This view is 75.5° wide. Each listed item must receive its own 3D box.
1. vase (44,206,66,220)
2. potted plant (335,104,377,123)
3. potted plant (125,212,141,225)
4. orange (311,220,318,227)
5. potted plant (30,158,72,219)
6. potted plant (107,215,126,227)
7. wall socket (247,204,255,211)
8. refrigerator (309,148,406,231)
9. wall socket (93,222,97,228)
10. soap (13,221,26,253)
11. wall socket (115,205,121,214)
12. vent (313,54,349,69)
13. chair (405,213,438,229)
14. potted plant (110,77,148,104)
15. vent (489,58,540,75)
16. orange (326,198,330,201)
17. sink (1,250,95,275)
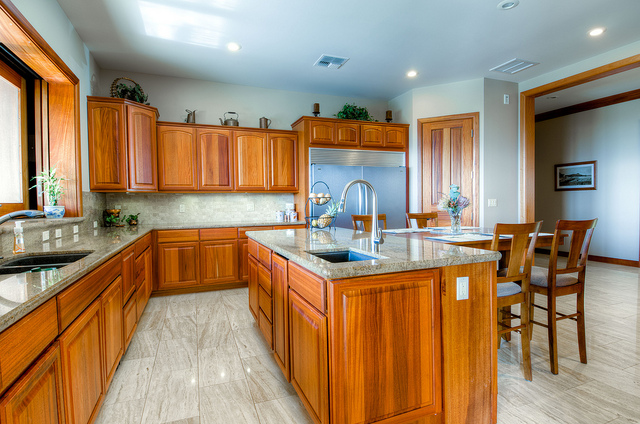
[{"bbox_3d":[-2.878,0.008,4.504,0.169,0.105,0.167,-4,-2,6],"label":"vase"},{"bbox_3d":[0.633,-1.613,6.786,0.462,0.244,0.530,6,11,5],"label":"potted plant"},{"bbox_3d":[-2.666,0.103,5.939,0.145,0.165,0.310,1,4,5],"label":"potted plant"},{"bbox_3d":[-0.047,0.122,4.378,0.051,0.070,0.096,0,4,-5],"label":"orange"},{"bbox_3d":[-2.971,-0.210,4.607,0.291,0.538,0.399,-4,1,6],"label":"potted plant"},{"bbox_3d":[-2.800,0.122,5.724,0.103,0.158,0.215,5,6,42],"label":"potted plant"},{"bbox_3d":[-1.108,-0.075,6.623,0.128,0.116,0.032,3,-1,-13],"label":"wall socket"},{"bbox_3d":[0.749,-0.298,6.968,1.507,1.433,0.483,2,34,12],"label":"refrigerator"},{"bbox_3d":[-2.962,0.179,5.463,0.040,0.071,0.056,2,1,32],"label":"wall socket"},{"bbox_3d":[-2.640,0.220,3.627,0.077,0.270,0.186,-3,6,-36],"label":"soap"},{"bbox_3d":[-2.874,-0.027,5.901,0.074,0.128,0.220,-2,5,-26],"label":"wall socket"},{"bbox_3d":[0.158,-2.111,5.810,0.399,0.075,0.372,-1,4,-18],"label":"vent"},{"bbox_3d":[1.445,0.124,5.802,0.247,0.380,0.254,1,-3,-19],"label":"chair"},{"bbox_3d":[-2.624,-1.653,5.660,0.392,0.156,0.457,23,27,36],"label":"potted plant"},{"bbox_3d":[2.848,-2.134,6.064,0.482,0.082,0.473,-1,4,-25],"label":"vent"},{"bbox_3d":[0.087,-0.132,4.303,0.036,0.033,0.019,1,-2,-25],"label":"orange"},{"bbox_3d":[-2.401,0.421,3.616,0.470,0.144,0.597,2,4,14],"label":"sink"}]
